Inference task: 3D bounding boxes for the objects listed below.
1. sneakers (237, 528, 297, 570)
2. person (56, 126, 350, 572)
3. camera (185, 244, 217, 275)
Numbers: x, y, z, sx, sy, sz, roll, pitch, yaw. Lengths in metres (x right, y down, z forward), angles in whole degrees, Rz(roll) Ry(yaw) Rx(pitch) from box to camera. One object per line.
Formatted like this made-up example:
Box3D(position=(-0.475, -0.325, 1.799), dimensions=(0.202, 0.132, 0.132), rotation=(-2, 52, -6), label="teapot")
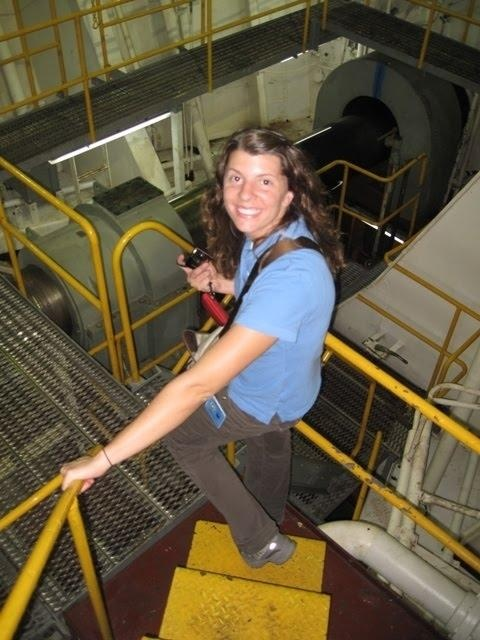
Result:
Box3D(position=(0.109, 0.898, 1.918), dimensions=(0.239, 0.102, 0.129), rotation=(-23, 71, -9), label="sneakers")
Box3D(position=(0.014, 0.204, 1.861), dimensions=(0.652, 1.648, 1.160), rotation=(5, 38, 12), label="person")
Box3D(position=(-0.212, -0.288, 2.483), dimensions=(0.165, 0.156, 0.101), rotation=(0, 26, 13), label="camera")
